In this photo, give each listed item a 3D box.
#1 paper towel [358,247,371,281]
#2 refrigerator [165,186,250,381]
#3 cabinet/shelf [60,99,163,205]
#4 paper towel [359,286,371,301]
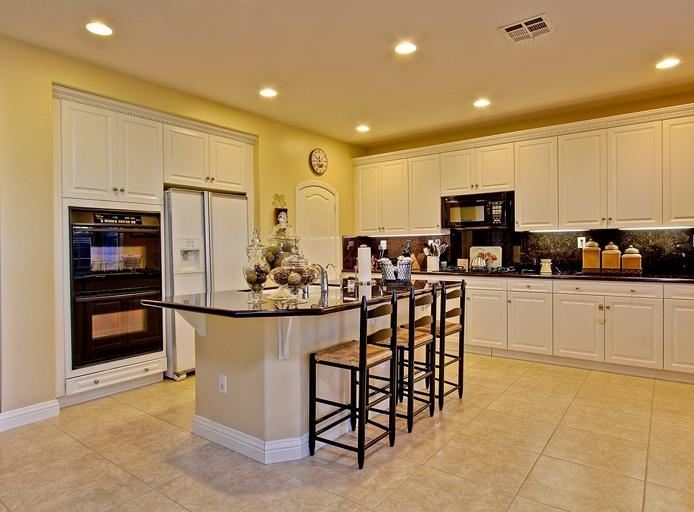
[{"bbox_3d":[0.163,0.065,4.533,0.146,0.340,0.145,-1,0,2],"label":"paper towel"},{"bbox_3d":[-1.617,0.226,5.459,0.382,2.019,1.220,8,14,37],"label":"refrigerator"},{"bbox_3d":[-2.359,-1.034,4.674,0.445,1.078,1.169,3,0,42],"label":"cabinet/shelf"},{"bbox_3d":[0.153,0.301,4.032,0.087,0.137,0.084,-2,0,14],"label":"paper towel"}]
